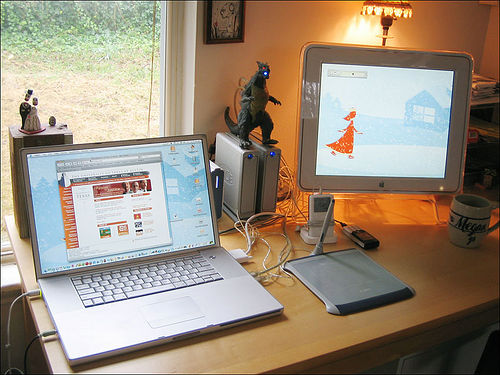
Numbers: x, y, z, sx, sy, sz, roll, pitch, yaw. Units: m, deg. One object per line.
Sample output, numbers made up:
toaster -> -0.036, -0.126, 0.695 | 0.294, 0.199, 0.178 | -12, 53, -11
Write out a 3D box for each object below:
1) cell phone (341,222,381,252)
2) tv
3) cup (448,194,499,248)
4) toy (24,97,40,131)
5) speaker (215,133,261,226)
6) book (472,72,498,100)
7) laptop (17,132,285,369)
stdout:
cell phone -> 0.357, 0.155, 1.282 | 0.052, 0.028, 0.112 | -8, 31, -30
tv -> 0.450, -0.225, 1.323 | 0.643, 0.484, 0.063 | 2, 5, -10
cup -> 0.718, 0.107, 1.350 | 0.214, 0.147, 0.127 | -5, 22, -5
toy -> -0.676, -0.227, 1.204 | 0.053, 0.095, 0.147 | -12, 20, -25
speaker -> -0.053, -0.055, 1.459 | 0.093, 0.267, 0.278 | -5, 25, -22
book -> 0.941, -0.406, 1.580 | 0.124, 0.039, 0.119 | 1, 45, -2
laptop -> -0.239, 0.111, 0.951 | 0.633, 0.296, 0.571 | 5, 20, -10
